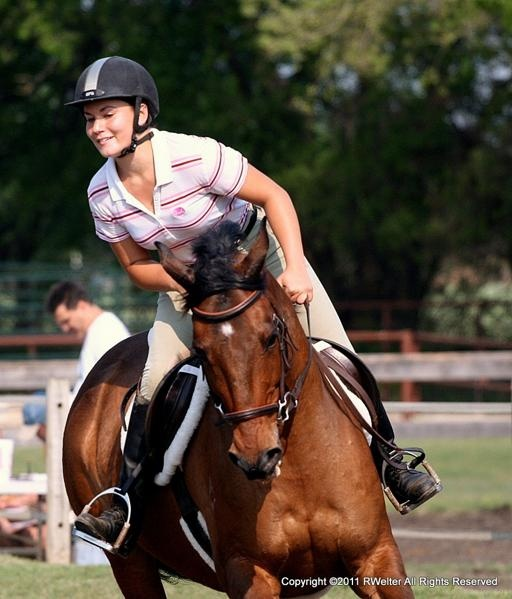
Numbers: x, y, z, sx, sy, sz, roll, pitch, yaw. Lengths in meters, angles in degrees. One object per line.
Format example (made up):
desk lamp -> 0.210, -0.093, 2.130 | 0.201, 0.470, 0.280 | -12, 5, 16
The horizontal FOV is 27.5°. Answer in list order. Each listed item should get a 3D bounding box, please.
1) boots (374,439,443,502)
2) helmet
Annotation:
boots -> 0.752, 0.839, 5.197 | 0.187, 0.195, 0.501 | -19, 4, -16
helmet -> -0.684, -1.040, 5.034 | 0.355, 0.210, 0.468 | 0, 1, 37
